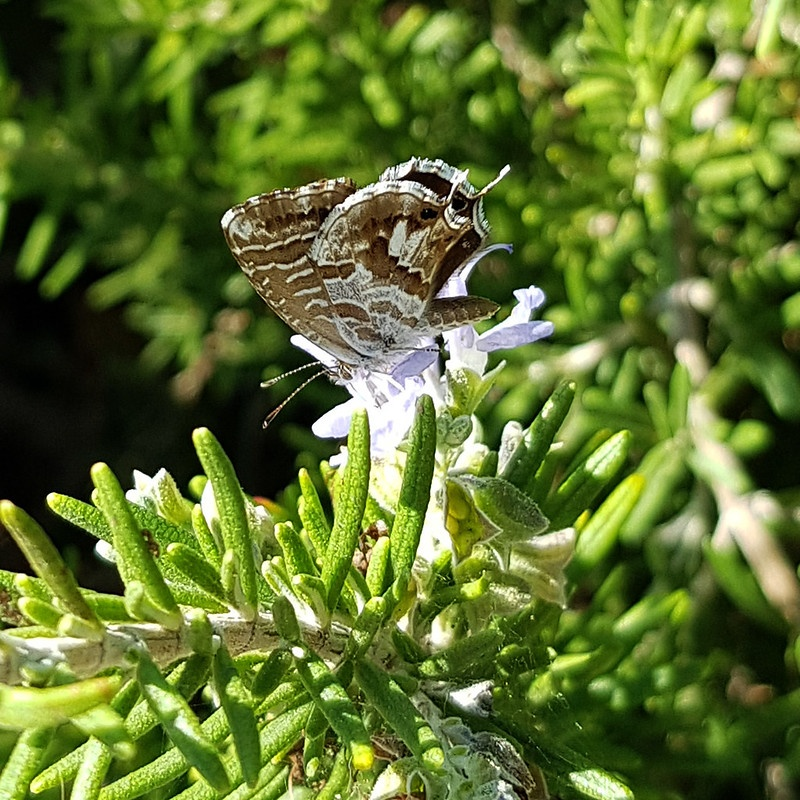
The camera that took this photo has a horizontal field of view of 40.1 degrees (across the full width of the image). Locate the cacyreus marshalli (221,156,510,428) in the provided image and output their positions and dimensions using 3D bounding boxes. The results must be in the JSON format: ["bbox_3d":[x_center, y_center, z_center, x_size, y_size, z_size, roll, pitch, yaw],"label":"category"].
[{"bbox_3d":[-0.054,-0.208,1.693,0.424,0.437,0.292,-44,86,7],"label":"cacyreus marshalli"}]

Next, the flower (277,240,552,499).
[{"bbox_3d":[0.061,0.009,1.573,0.339,0.160,0.309,-44,29,16],"label":"flower"}]
